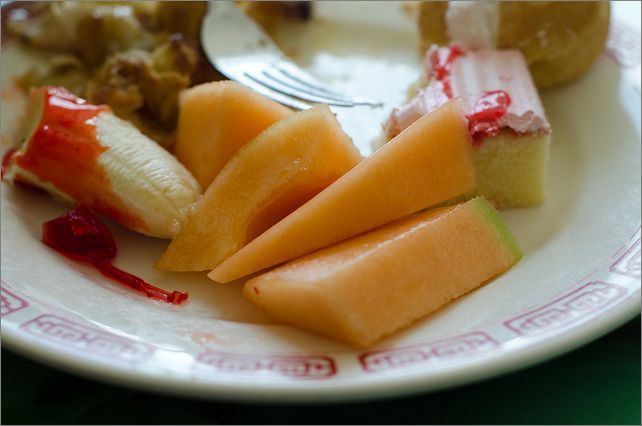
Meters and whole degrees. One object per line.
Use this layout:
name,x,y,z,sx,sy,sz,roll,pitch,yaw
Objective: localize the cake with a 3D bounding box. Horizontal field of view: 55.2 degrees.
cake,0.341,-0.135,1.513,0.322,0.221,0.453,-7,42,5
